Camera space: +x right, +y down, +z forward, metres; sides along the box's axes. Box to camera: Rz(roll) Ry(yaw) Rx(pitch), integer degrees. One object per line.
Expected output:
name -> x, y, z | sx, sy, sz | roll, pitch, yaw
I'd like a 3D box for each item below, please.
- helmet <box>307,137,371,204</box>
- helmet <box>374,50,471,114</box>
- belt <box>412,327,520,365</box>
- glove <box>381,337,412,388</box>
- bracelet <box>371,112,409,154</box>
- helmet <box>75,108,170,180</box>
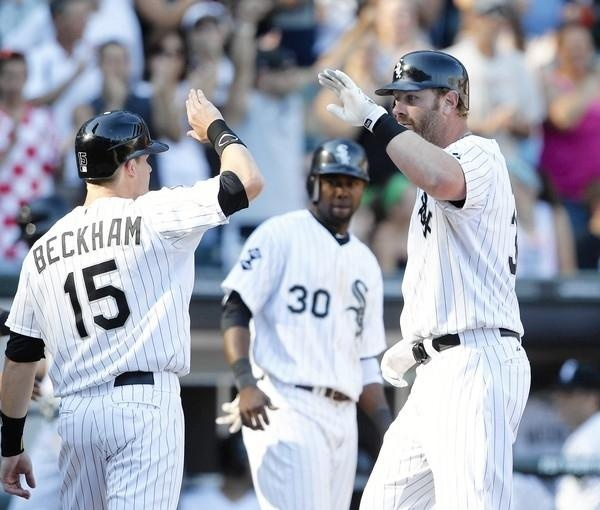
helmet -> 0.249, -0.567, 8.783 | 0.310, 0.375, 0.432 | 6, -12, -7
helmet -> 0.730, -1.018, 7.800 | 0.429, 0.268, 0.319 | 5, -5, -8
belt -> 0.870, 0.493, 7.705 | 0.363, 0.124, 0.291 | -16, -13, 4
glove -> 0.584, 0.666, 8.300 | 0.087, 0.286, 0.216 | 14, 43, 21
bracelet -> 0.503, -0.690, 7.551 | 0.142, 0.139, 0.196 | -32, -3, 15
helmet -> -1.039, -0.647, 7.761 | 0.434, 0.275, 0.312 | -18, 26, -28
